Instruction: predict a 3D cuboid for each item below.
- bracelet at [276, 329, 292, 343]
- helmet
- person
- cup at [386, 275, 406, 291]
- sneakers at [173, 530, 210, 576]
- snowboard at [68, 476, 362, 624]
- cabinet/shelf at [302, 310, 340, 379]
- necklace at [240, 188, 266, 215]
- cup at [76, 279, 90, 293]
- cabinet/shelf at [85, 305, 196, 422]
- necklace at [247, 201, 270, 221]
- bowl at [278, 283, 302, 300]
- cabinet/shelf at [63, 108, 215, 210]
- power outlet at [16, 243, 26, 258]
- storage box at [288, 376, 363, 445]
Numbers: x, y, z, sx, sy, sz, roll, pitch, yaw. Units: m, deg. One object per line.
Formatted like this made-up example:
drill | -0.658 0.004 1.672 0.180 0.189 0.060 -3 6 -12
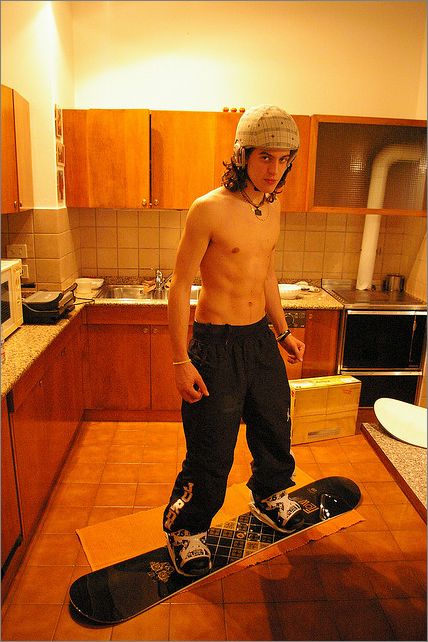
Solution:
bracelet | 0.265 0.061 1.762 0.066 0.043 0.060 -10 -12 -45
helmet | 0.147 -0.558 1.361 0.163 0.191 0.218 -9 19 -27
person | 0.055 0.034 1.516 0.444 1.381 0.399 2 6 11
cup | 1.337 -0.284 3.289 0.128 0.129 0.105 4 6 33
sneakers | -0.078 0.784 1.511 0.089 0.074 0.162 -1 11 -13
snowboard | 0.007 0.837 1.621 0.785 0.125 0.191 -14 24 -27
cabinet/shelf | 0.722 0.154 3.025 0.298 0.479 0.301 5 1 -30
necklace | 0.125 -0.368 1.418 0.058 0.090 0.017 -17 -2 -41
cup | -0.884 -0.238 3.048 0.094 0.096 0.097 6 17 -2
cabinet/shelf | -0.624 0.165 3.180 0.386 0.792 0.685 1 20 -10
necklace | 0.143 -0.370 1.449 0.044 0.038 0.074 -9 51 -29
bowl | 0.496 -0.204 2.969 0.132 0.054 0.143 0 9 0
cabinet/shelf | -0.471 -1.235 3.030 1.038 0.686 0.598 -4 50 -14
power outlet | -1.161 -0.429 2.681 0.074 0.116 0.018 0 15 -3
storage box | 0.684 0.532 2.809 0.399 0.390 0.148 -5 26 -5
